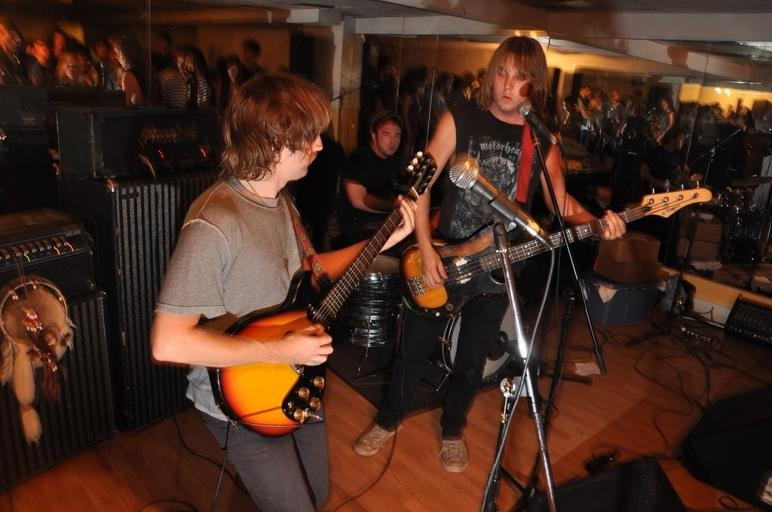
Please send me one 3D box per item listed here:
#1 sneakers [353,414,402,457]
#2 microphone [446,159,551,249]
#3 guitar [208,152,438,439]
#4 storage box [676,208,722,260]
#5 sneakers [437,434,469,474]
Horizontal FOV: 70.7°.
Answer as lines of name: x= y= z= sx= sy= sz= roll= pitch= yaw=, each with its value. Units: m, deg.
sneakers: x=-0.048 y=1.218 z=3.718 sx=0.332 sy=0.148 sz=0.131 roll=-35 pitch=-7 yaw=-24
microphone: x=0.605 y=-0.293 z=3.039 sx=0.191 sy=0.680 sz=0.183 roll=-52 pitch=9 yaw=-10
guitar: x=-0.220 y=0.069 z=2.959 sx=0.269 sy=0.704 sz=1.857 roll=5 pitch=48 yaw=46
storage box: x=3.164 y=-0.232 z=5.465 sx=0.222 sy=0.382 sz=0.408 roll=-31 pitch=32 yaw=-32
sneakers: x=0.468 y=1.299 z=3.641 sx=0.149 sy=0.133 sz=0.349 roll=-6 pitch=14 yaw=7
